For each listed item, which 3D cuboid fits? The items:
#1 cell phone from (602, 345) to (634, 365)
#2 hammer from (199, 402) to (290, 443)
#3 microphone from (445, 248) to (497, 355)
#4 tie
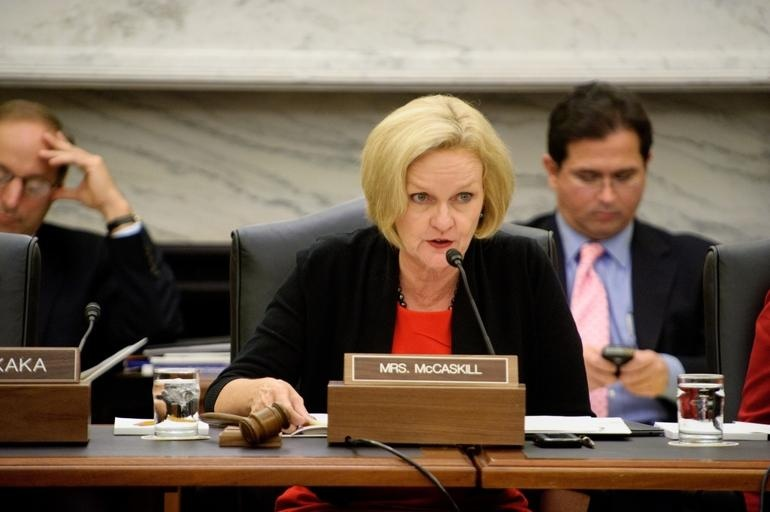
[{"bbox_3d":[0.846,0.360,3.149,0.172,0.073,0.053,2,-5,-29],"label":"cell phone"},{"bbox_3d":[-0.321,0.375,2.057,0.157,0.058,0.089,8,8,38],"label":"hammer"},{"bbox_3d":[0.227,0.115,2.290,0.124,0.282,0.351,-1,-4,7],"label":"microphone"},{"bbox_3d":[0.749,0.279,3.329,0.160,0.761,0.197,-1,-14,0],"label":"tie"}]
